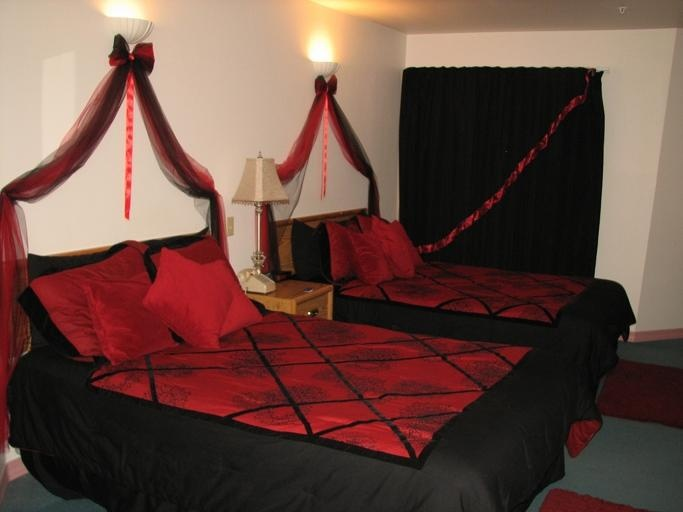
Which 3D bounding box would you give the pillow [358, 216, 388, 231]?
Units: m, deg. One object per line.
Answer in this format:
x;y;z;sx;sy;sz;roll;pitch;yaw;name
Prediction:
0.253;-0.292;4.713;0.176;0.050;0.176;2;26;4;pillow

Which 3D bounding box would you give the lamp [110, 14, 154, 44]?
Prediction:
-1.240;-1.355;3.193;0.144;0.143;0.265;9;14;27;lamp

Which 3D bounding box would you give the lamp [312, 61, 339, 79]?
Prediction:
-0.132;-1.671;4.751;0.263;0.139;0.120;-10;17;-43;lamp

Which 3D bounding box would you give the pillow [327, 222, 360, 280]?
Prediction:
0.006;-0.026;4.349;0.153;0.373;0.577;-8;-2;33;pillow

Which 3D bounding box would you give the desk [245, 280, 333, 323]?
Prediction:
-0.354;0.228;4.000;0.312;0.437;0.436;6;11;30;desk

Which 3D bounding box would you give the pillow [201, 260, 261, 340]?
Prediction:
-0.648;0.237;3.099;0.113;0.396;0.384;-24;3;20;pillow

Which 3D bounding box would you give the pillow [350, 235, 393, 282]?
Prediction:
0.212;0.027;4.320;0.111;0.368;0.368;-30;-28;34;pillow

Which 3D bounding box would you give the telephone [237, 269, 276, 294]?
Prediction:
-0.634;0.179;3.985;0.219;0.154;0.168;2;9;23;telephone
